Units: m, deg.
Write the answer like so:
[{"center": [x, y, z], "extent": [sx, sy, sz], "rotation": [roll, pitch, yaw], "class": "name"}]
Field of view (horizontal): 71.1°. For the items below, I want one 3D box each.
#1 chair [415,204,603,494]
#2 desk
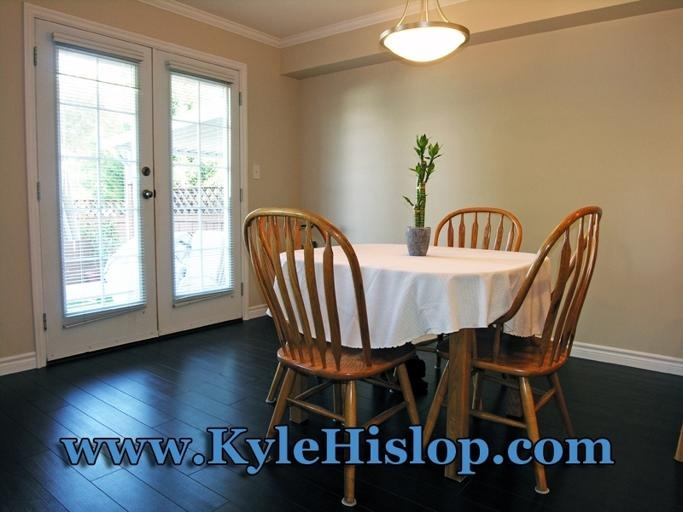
[{"center": [1.142, 0.271, 3.140], "extent": [1.144, 2.187, 1.184], "rotation": [3, 6, 39], "class": "chair"}, {"center": [0.423, 0.476, 2.405], "extent": [1.257, 0.964, 0.709], "rotation": [-2, 13, -8], "class": "desk"}]
